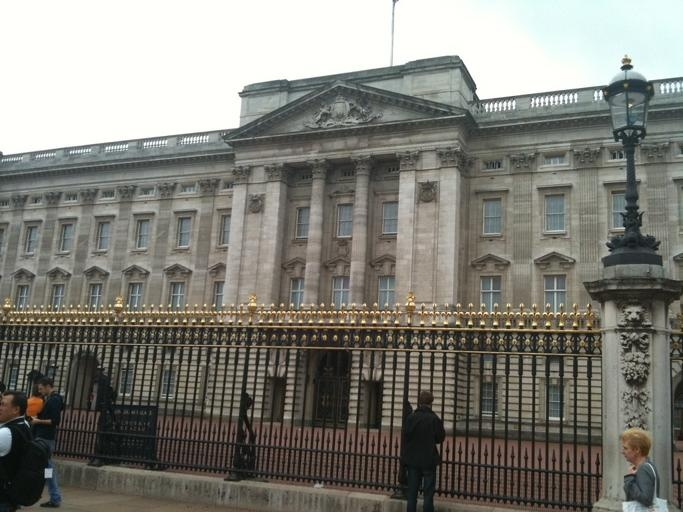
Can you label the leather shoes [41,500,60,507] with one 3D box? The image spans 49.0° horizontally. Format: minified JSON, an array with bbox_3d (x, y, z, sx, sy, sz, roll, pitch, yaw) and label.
[{"bbox_3d":[-5.457,4.639,14.133,0.363,0.129,0.134,7,-21,-3],"label":"leather shoes"}]
